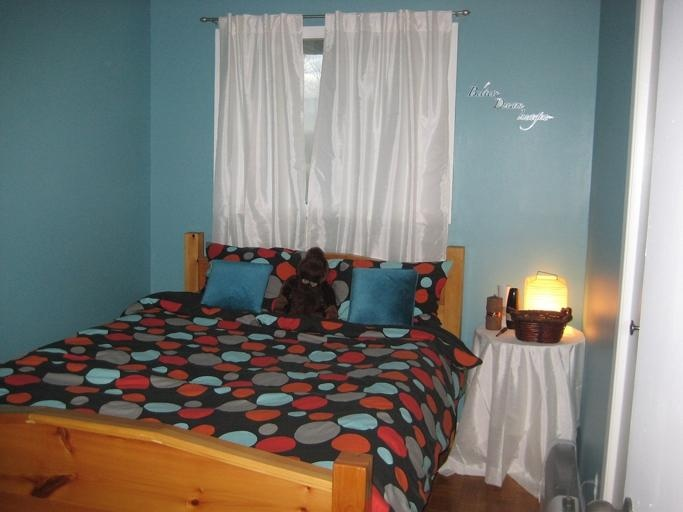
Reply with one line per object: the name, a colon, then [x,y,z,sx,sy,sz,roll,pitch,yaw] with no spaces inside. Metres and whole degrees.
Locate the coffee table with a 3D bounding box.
coffee table: [0.931,0.801,3.277,0.843,0.819,0.829,9,3,-38]

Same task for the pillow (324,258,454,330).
pillow: [0.401,0.158,3.139,0.542,0.422,0.148,5,-18,7]

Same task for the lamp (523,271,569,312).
lamp: [1.169,0.215,3.314,0.275,0.238,0.257,1,6,15]

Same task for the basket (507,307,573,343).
basket: [1.031,0.357,2.984,0.230,0.120,0.207,4,6,36]

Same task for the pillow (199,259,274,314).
pillow: [-0.620,0.147,3.431,0.398,0.133,0.477,1,28,12]

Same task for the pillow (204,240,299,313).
pillow: [-0.500,0.110,3.402,0.669,0.348,0.170,2,-17,19]
